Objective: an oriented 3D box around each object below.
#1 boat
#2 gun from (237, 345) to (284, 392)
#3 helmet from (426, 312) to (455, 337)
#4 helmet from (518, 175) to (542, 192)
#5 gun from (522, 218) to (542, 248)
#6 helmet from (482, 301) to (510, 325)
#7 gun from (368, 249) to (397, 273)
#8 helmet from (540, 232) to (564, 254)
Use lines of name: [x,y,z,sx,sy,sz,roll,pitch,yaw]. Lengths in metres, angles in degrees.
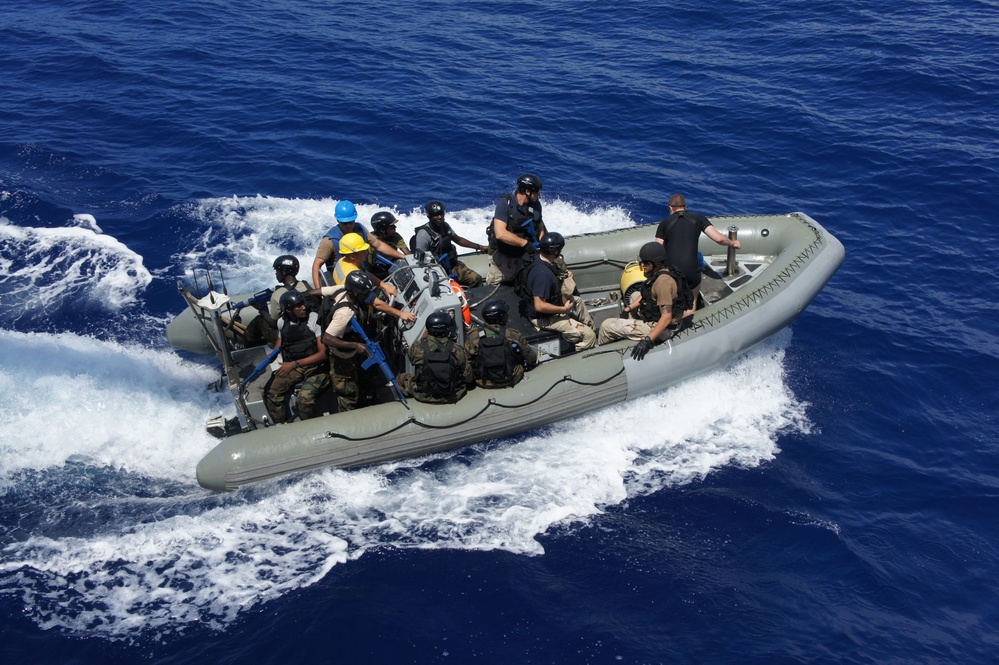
boat: [0.717,0.570,18.205,12.283,1.758,4.488,-9,47,-10]
gun: [-3.911,0.591,17.708,1.056,0.265,0.231,-30,54,-6]
helmet: [-0.918,-0.149,16.964,0.504,0.369,0.306,-16,82,9]
helmet: [0.451,-2.552,18.300,0.381,0.310,0.257,-9,72,10]
gun: [0.529,-1.731,18.558,0.203,0.481,0.411,-6,19,-24]
helmet: [-0.080,-0.325,17.130,0.389,0.311,0.425,4,22,9]
gun: [-1.976,-1.223,18.226,0.305,0.308,0.350,36,14,28]
helmet: [0.837,-1.476,17.832,0.350,0.398,0.413,7,40,7]
